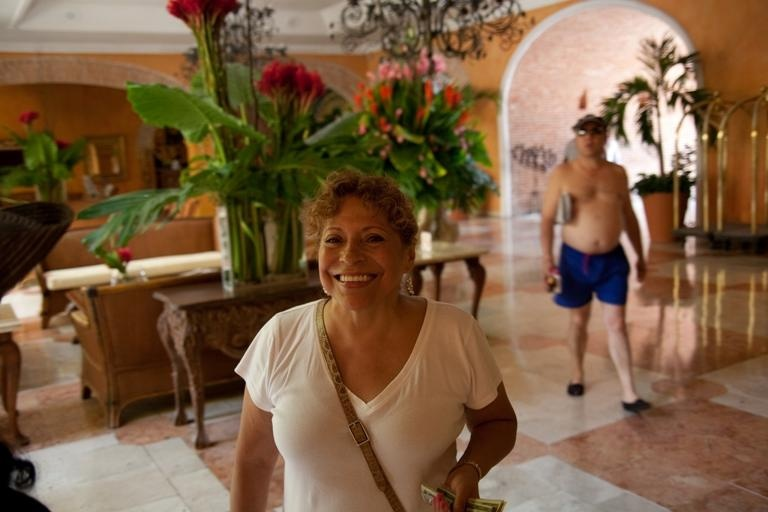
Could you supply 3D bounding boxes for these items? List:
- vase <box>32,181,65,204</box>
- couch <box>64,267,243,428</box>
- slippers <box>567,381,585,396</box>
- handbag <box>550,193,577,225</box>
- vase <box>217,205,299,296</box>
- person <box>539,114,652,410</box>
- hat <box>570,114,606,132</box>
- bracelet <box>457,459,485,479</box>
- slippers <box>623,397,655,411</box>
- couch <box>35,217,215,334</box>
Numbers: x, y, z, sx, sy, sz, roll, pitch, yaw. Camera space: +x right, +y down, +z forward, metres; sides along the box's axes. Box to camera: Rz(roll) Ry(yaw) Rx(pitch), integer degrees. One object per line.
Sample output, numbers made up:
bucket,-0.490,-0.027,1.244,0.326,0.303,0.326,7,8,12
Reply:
vase,-2.697,-0.524,4.599,0.194,0.175,0.372,-5,5,-32
couch,-1.902,0.544,4.555,1.435,1.528,1.034,-6,12,-30
slippers,1.465,1.018,4.336,0.104,0.075,0.105,-1,-6,-2
handbag,1.286,-0.332,4.001,0.104,0.206,0.053,5,-1,24
vase,-0.872,-0.043,3.901,0.581,0.570,0.205,-4,5,-35
person,1.512,0.061,4.068,0.727,2.069,0.441,-1,5,17
hat,1.397,-0.899,3.820,0.140,0.048,0.141,-3,3,-22
bracelet,0.293,0.698,1.857,0.068,0.059,0.026,-5,-3,3
slippers,1.780,1.051,3.980,0.152,0.061,0.086,-10,0,28
couch,-2.592,0.090,6.046,1.941,0.903,0.631,-9,21,-40
